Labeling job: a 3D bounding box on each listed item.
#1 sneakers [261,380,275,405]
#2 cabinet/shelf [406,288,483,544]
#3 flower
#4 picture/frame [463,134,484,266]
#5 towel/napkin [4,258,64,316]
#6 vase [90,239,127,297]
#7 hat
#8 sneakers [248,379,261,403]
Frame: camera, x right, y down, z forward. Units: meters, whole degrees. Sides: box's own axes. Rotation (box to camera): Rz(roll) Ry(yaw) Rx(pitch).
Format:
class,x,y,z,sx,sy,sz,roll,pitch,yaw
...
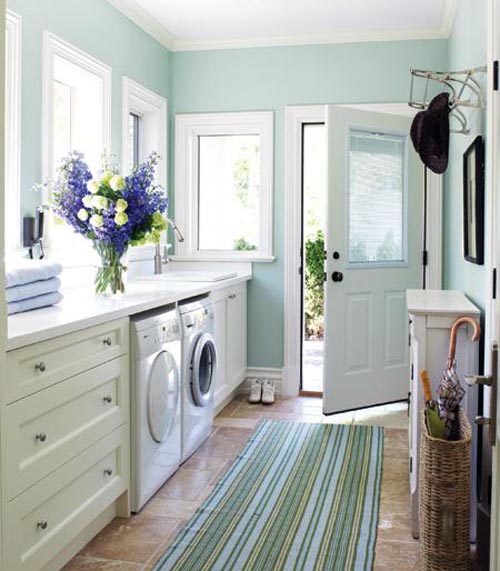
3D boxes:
class,x,y,z,sx,sy,sz,roll,pitch,yaw
sneakers,0.136,0.825,3.605,0.089,0.150,0.321,0,2,2
cabinet/shelf,0.653,0.445,1.559,0.110,0.551,0.760,0,3,12
flower,-0.669,-0.300,2.206,0.526,0.675,0.310,0,2,-9
picture/frame,1.024,-0.375,2.148,0.023,0.552,0.464,-1,8,19
towel/napkin,-0.791,0.004,1.709,0.085,0.179,0.334,0,2,7
vase,-0.653,-0.086,2.250,0.123,0.264,0.135,5,-6,-28
hat,0.817,-0.711,2.117,0.169,0.384,0.254,1,2,23
sneakers,0.044,0.820,3.631,0.094,0.130,0.253,0,2,1
